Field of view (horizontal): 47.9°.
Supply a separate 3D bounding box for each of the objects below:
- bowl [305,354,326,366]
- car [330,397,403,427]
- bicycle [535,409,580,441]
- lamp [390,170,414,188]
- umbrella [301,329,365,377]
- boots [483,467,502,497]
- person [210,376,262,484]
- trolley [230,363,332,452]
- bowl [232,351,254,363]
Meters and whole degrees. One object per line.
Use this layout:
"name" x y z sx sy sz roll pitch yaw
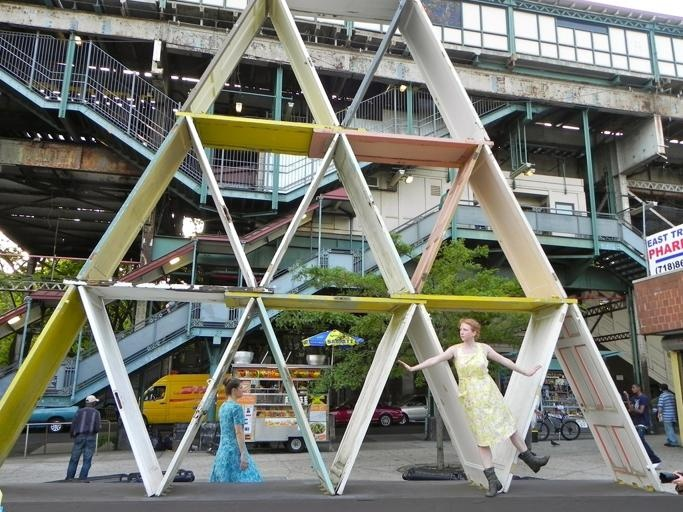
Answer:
"bowl" -0.866 3.364 24.760 0.458 0.202 0.442 -1 -13 0
"car" 1.403 6.438 30.956 4.116 1.182 1.626 5 -16 -8
"bicycle" 7.429 5.896 26.755 1.905 1.038 0.892 0 -3 -5
"lamp" 2.392 -3.208 30.891 1.000 0.613 2.039 -1 -6 3
"umbrella" 0.037 2.859 23.053 1.355 0.824 1.353 -5 1 -34
"boots" 2.876 4.277 14.579 0.358 0.523 0.286 -1 -7 2
"person" -2.238 3.584 15.871 0.910 2.089 0.316 0 -8 -9
"trolley" -1.665 4.643 24.054 3.332 2.468 1.645 -4 -5 20
"bowl" -3.144 3.246 24.516 0.588 0.406 1.108 0 -6 -9
